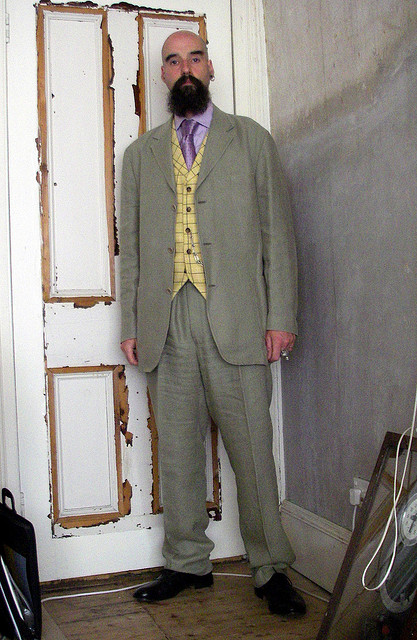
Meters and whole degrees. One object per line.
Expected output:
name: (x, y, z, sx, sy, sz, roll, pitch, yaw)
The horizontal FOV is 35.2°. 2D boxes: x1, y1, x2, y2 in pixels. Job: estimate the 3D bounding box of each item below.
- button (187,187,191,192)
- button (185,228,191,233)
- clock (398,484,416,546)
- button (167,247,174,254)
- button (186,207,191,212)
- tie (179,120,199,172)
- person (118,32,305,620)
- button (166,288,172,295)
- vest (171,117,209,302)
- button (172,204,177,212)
button: (-0.058, -0.393, 1.971, 0.013, 0.015, 0.004, -7, 3, 7)
button: (-0.061, -0.267, 1.958, 0.017, 0.014, 0.007, -4, 5, -6)
clock: (0.426, 0.422, 1.408, 0.037, 0.115, 0.058, -1, 5, 17)
button: (-0.111, -0.206, 1.954, 0.006, 0.019, 0.025, -7, 7, -40)
button: (-0.058, -0.331, 1.962, 0.012, 0.014, 0.003, -8, 0, -4)
tie: (-0.059, -0.530, 2.024, 0.077, 0.199, 0.034, 0, -20, 1)
person: (-0.022, -0.025, 1.985, 0.577, 1.742, 0.422, -2, 5, 12)
button: (-0.117, -0.085, 1.945, 0.006, 0.018, 0.024, -7, 7, -41)
vest: (-0.055, -0.346, 2.012, 0.125, 0.543, 0.237, -3, 5, 0)
button: (-0.102, -0.336, 1.966, 0.005, 0.022, 0.020, -2, 7, -37)
